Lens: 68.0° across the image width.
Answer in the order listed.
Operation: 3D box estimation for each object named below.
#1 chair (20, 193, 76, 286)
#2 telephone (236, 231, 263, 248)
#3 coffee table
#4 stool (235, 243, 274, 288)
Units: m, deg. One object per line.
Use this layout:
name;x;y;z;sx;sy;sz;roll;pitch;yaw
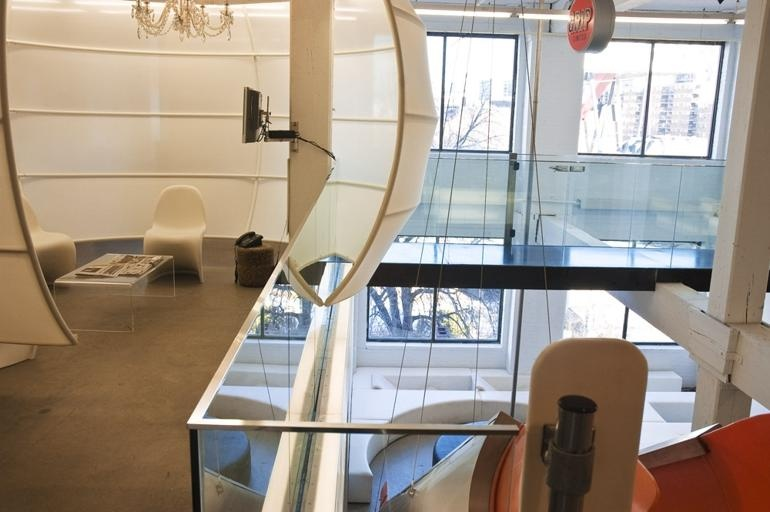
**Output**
chair;-3.474;-0.135;5.953;0.443;0.874;0.659;-2;13;-32
telephone;-1.543;-0.188;6.574;0.260;0.160;0.186;-3;12;-27
coffee table;-2.822;0.333;5.874;1.043;0.627;0.958;4;11;-4
stool;-1.536;0.105;6.727;0.435;0.423;0.446;2;13;-8
